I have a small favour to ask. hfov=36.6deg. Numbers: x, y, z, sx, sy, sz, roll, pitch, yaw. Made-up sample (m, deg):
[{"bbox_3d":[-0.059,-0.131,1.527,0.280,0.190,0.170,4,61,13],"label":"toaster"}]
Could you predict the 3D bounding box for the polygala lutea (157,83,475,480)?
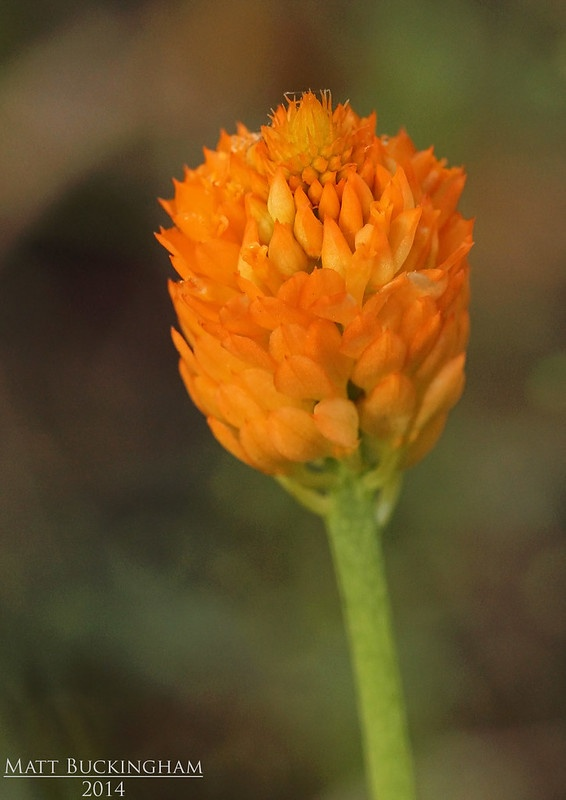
[{"bbox_3d":[0.021,-0.060,0.546,0.194,0.219,0.193,4,9,35],"label":"polygala lutea"}]
